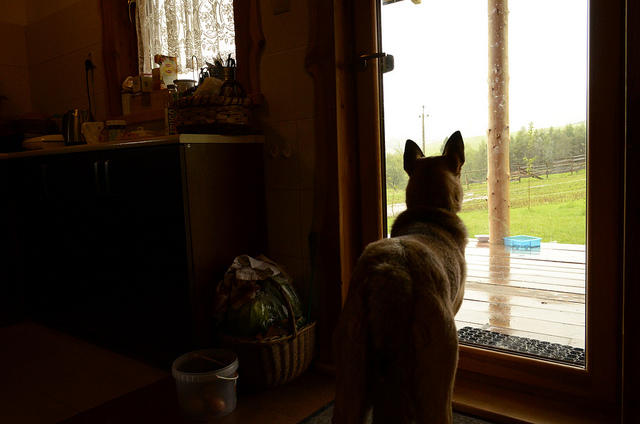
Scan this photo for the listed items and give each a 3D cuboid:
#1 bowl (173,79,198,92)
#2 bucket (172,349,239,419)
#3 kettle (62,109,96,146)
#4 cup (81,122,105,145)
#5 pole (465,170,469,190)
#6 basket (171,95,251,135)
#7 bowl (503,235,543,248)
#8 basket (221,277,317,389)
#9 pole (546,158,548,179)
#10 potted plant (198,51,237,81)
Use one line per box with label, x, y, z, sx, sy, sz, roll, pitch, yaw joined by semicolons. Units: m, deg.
bowl;-0.901;-0.828;3.366;0.114;0.087;0.119;0;11;0
bucket;-0.625;0.920;2.843;0.352;0.293;0.354;-1;-5;0
kettle;-1.750;-0.608;3.677;0.215;0.250;0.206;-8;13;-27
cup;-1.627;-0.565;3.621;0.162;0.140;0.112;-5;11;-14
pole;0.861;-0.190;2.993;0.021;0.104;0.065;-1;11;3
basket;-0.649;-0.583;3.089;0.328;0.162;0.276;-6;11;-35
bowl;1.306;0.198;3.293;0.119;0.039;0.106;-4;14;0
basket;-0.306;0.722;3.125;0.447;0.653;0.574;-7;-2;33
pole;1.274;-0.255;2.866;0.009;0.094;0.022;6;13;37
potted plant;-0.637;-0.943;3.282;0.249;0.255;0.160;-2;12;-3
